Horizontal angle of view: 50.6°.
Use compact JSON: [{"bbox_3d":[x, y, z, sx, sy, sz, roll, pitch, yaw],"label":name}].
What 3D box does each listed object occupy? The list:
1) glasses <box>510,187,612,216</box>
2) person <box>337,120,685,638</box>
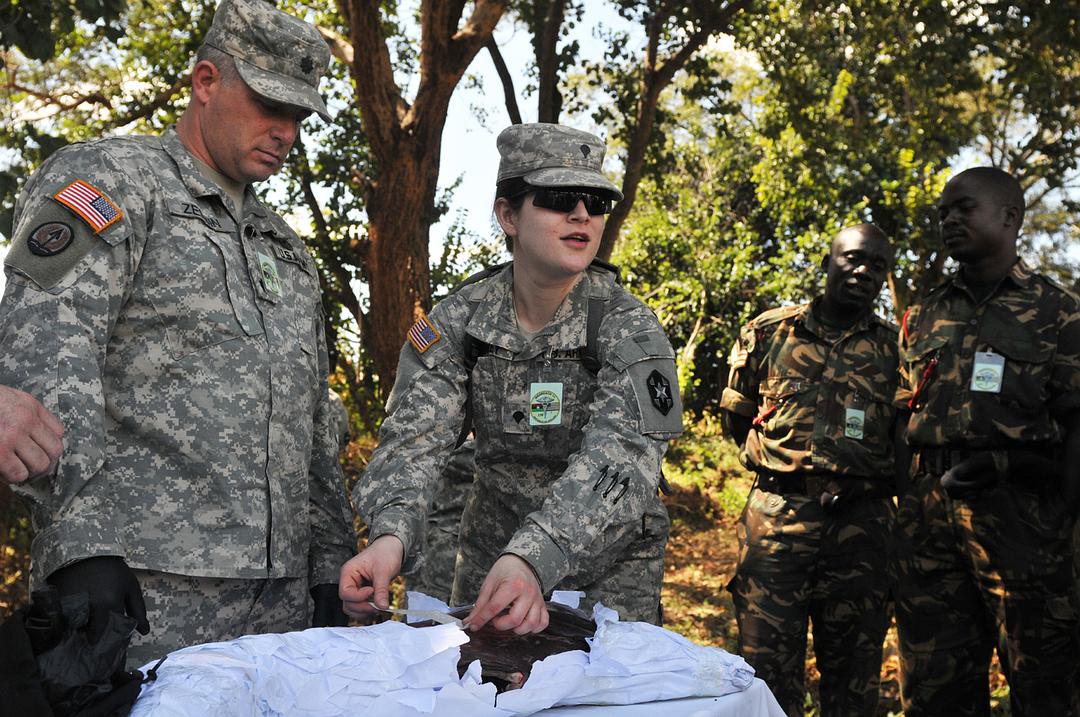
[{"bbox_3d":[0.093,-0.705,5.175,0.476,0.119,0.108,7,-9,2],"label":"glasses"},{"bbox_3d":[-0.040,0.049,5.080,1.287,2.266,0.917,5,-10,18],"label":"person"}]
